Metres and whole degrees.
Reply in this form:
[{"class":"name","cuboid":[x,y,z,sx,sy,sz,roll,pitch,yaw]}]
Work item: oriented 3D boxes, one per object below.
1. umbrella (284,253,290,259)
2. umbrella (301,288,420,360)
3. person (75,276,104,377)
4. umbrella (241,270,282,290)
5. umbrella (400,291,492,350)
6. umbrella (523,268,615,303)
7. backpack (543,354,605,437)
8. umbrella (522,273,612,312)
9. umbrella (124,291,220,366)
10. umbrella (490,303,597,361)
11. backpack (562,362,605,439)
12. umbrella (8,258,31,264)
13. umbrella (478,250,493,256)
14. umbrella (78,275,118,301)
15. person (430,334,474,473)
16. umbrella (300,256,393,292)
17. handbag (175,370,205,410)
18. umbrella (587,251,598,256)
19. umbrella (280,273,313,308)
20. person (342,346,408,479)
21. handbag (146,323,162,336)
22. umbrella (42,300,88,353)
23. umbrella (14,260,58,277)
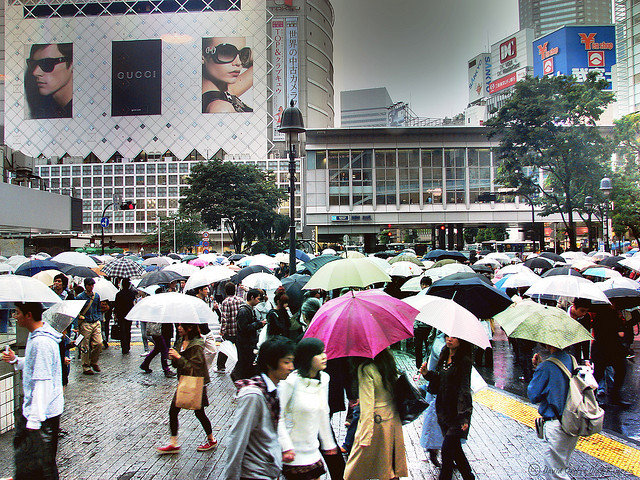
[{"class":"umbrella","cuboid":[-1.189,0.599,20.742,0.272,0.151,0.186,4,31,-11]},{"class":"umbrella","cuboid":[0.649,1.202,8.465,1.151,0.508,1.179,-23,30,0]},{"class":"person","cuboid":[-5.552,2.125,13.711,0.616,2.333,0.657,1,-3,-36]},{"class":"umbrella","cuboid":[-1.366,1.017,13.555,0.860,0.377,0.744,0,-3,-21]},{"class":"umbrella","cuboid":[2.109,1.031,8.857,0.978,0.654,0.992,26,5,5]},{"class":"umbrella","cuboid":[4.902,0.981,11.120,1.070,0.536,1.049,1,-4,-29]},{"class":"backpack","cuboid":[3.818,2.353,8.456,0.482,1.163,0.643,2,-9,-34]},{"class":"umbrella","cuboid":[4.857,0.965,11.127,0.954,0.498,0.983,1,1,41]},{"class":"umbrella","cuboid":[-2.722,1.707,10.256,1.587,1.434,1.621,0,-5,23]},{"class":"umbrella","cuboid":[3.494,1.316,8.868,0.963,0.654,0.990,8,5,14]},{"class":"backpack","cuboid":[3.854,2.427,8.334,0.579,1.061,0.271,-1,-3,9]},{"class":"umbrella","cuboid":[-10.551,0.754,19.921,0.539,0.260,0.555,-6,-6,-7]},{"class":"umbrella","cuboid":[9.629,0.762,32.879,0.733,0.349,0.442,-7,7,-37]},{"class":"umbrella","cuboid":[-5.556,1.245,14.415,0.651,0.330,0.672,7,7,39]},{"class":"person","cuboid":[1.990,2.489,8.546,0.601,2.071,0.369,-2,-3,14]},{"class":"umbrella","cuboid":[0.527,0.753,11.955,1.022,0.346,1.023,-18,10,-7]},{"class":"handbag","cuboid":[-2.153,2.524,9.392,0.471,0.648,0.225,0,-3,-15]},{"class":"umbrella","cuboid":[12.888,0.645,26.760,0.354,0.144,0.311,-18,-14,31]},{"class":"umbrella","cuboid":[-0.593,1.208,14.583,0.865,0.899,0.648,6,-37,6]},{"class":"person","cuboid":[0.802,2.508,8.097,0.862,1.877,0.310,-1,-3,5]},{"class":"handbag","cuboid":[-3.850,2.087,13.228,0.311,0.310,0.320,1,4,9]},{"class":"umbrella","cuboid":[-4.625,1.414,10.144,0.628,0.636,0.681,9,19,-41]},{"class":"umbrella","cuboid":[-8.579,0.864,17.189,1.113,0.414,1.099,4,-17,-37]}]
